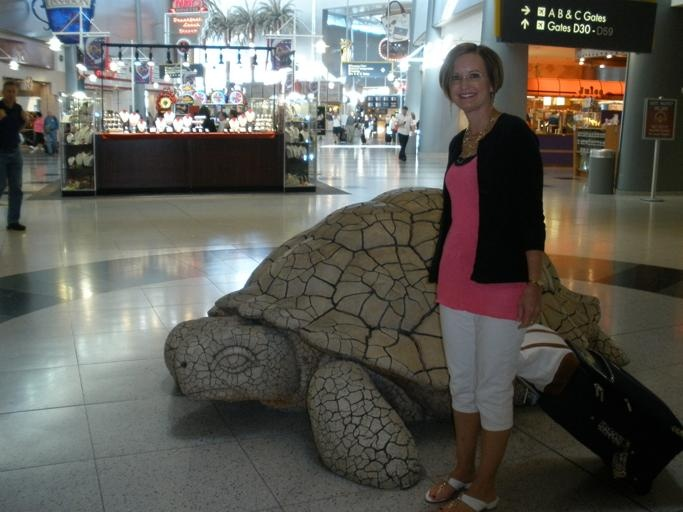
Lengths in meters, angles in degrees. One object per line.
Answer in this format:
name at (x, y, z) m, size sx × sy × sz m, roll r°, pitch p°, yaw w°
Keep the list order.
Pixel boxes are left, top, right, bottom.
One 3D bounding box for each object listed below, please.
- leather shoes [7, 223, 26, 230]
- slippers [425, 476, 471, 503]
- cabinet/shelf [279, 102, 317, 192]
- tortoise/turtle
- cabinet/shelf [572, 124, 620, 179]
leather shoes at (-4.301, -0.391, 6.931) m, size 0.186 × 0.088 × 0.096 m, roll -6°, pitch 19°, yaw -26°
slippers at (0.435, 0.931, 2.155) m, size 0.187 × 0.085 × 0.088 m, roll -14°, pitch 42°, yaw -8°
cabinet/shelf at (-0.909, -2.354, 11.291) m, size 0.738 × 1.829 × 0.801 m, roll -2°, pitch 12°, yaw -5°
tortoise/turtle at (0.355, 0.285, 2.980) m, size 2.392 × 1.039 × 1.858 m, roll -6°, pitch 5°, yaw -19°
cabinet/shelf at (6.722, -3.006, 14.144) m, size 0.941 × 1.964 × 1.229 m, roll -9°, pitch 16°, yaw -38°
